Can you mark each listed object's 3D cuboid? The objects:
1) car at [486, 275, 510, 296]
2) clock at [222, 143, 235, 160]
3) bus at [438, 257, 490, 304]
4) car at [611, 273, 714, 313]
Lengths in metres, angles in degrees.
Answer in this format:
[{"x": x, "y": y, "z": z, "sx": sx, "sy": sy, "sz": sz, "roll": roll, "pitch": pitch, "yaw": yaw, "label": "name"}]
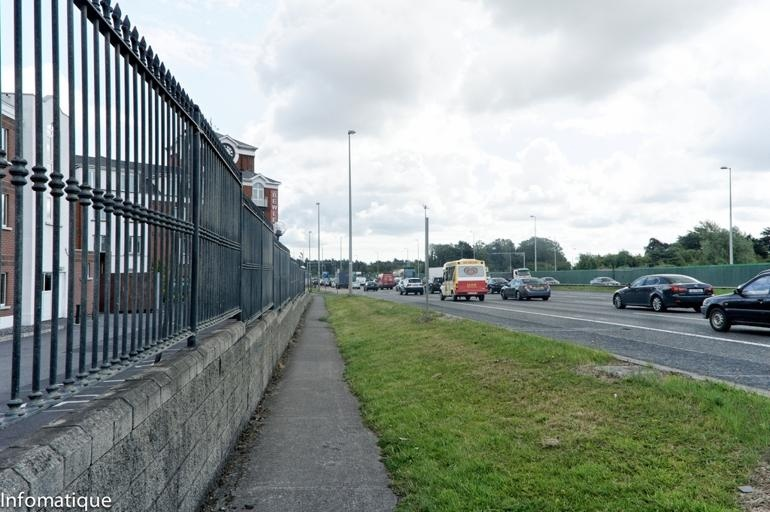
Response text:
[{"x": 9.080, "y": 2.330, "z": 51.497, "sx": 1.200, "sy": 1.050, "sz": 3.012, "roll": 0, "pitch": 0, "yaw": 2, "label": "car"}, {"x": -2.205, "y": -1.507, "z": 8.800, "sx": 0.068, "sy": 0.322, "sz": 0.308, "roll": -8, "pitch": -1, "yaw": 9, "label": "clock"}, {"x": 4.730, "y": 1.380, "z": 37.252, "sx": 1.626, "sy": 1.913, "sz": 3.303, "roll": 0, "pitch": 1, "yaw": -5, "label": "bus"}, {"x": 10.410, "y": 1.408, "z": 23.722, "sx": 1.147, "sy": 1.448, "sz": 3.653, "roll": -5, "pitch": 4, "yaw": -18, "label": "car"}]
